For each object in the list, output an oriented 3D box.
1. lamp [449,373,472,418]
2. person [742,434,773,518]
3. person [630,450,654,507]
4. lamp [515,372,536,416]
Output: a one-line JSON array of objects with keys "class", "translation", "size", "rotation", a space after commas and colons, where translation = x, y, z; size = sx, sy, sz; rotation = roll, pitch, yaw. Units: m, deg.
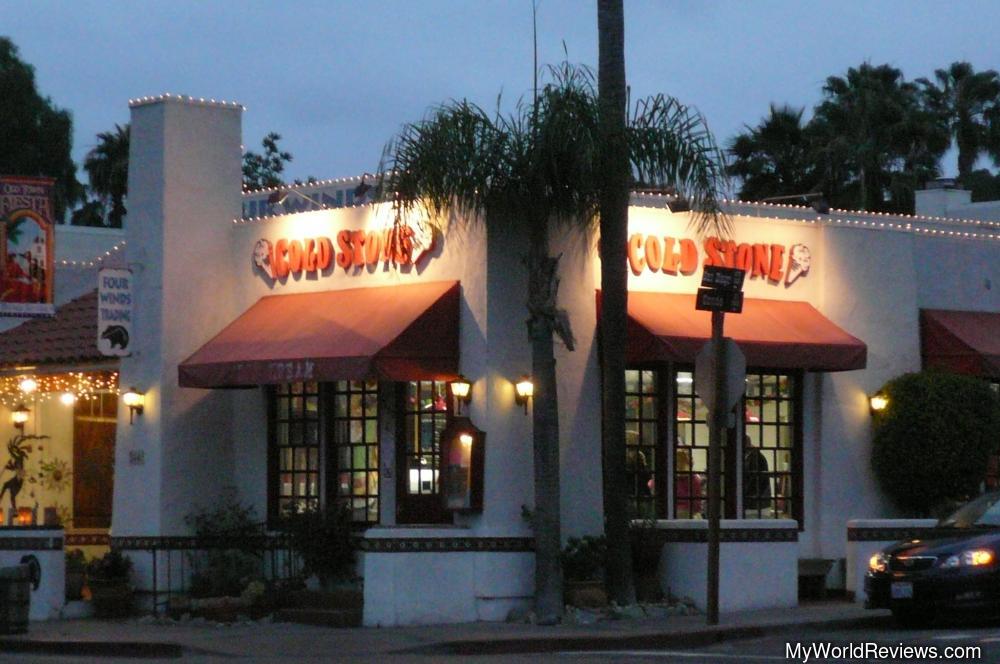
[{"class": "lamp", "translation": [-0.818, 1.242, 32.299], "size": [0.379, 0.706, 0.573], "rotation": [5, -11, -35]}, {"class": "person", "translation": [5.233, 2.956, 34.665], "size": [0.639, 1.558, 0.183], "rotation": [3, -10, -27]}, {"class": "person", "translation": [2.792, 2.881, 33.902], "size": [0.527, 1.038, 0.192], "rotation": [4, -10, -31]}, {"class": "lamp", "translation": [0.417, 1.200, 32.151], "size": [0.315, 0.730, 0.352], "rotation": [-1, -9, -3]}]
